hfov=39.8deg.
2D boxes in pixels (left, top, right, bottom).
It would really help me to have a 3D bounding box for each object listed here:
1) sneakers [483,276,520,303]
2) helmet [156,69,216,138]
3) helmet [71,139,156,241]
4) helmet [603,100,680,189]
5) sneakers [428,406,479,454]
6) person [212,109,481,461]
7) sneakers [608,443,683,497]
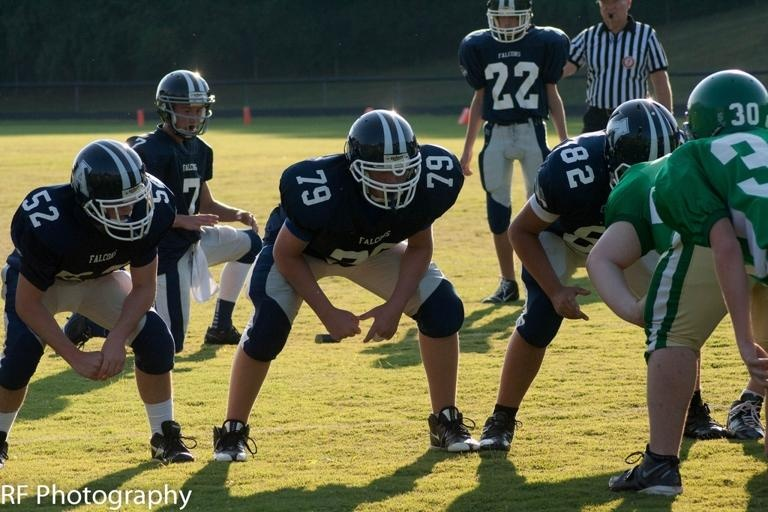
[{"bbox_3d":[0.811,0.246,7.673,0.324,0.172,0.114,0,2,-4],"label":"sneakers"},{"bbox_3d":[-1.239,-0.955,6.662,0.345,0.406,0.271,-2,9,-14],"label":"helmet"},{"bbox_3d":[-1.332,-0.326,5.264,0.400,0.488,0.249,-2,9,-15],"label":"helmet"},{"bbox_3d":[1.226,-0.556,5.182,0.348,0.418,0.428,4,20,3],"label":"helmet"},{"bbox_3d":[0.372,0.892,5.498,0.140,0.163,0.367,4,-8,-26],"label":"sneakers"},{"bbox_3d":[-0.154,0.129,5.501,1.283,1.756,0.512,1,9,3],"label":"person"},{"bbox_3d":[1.256,1.001,5.100,0.422,0.235,0.161,0,-3,33],"label":"sneakers"}]
